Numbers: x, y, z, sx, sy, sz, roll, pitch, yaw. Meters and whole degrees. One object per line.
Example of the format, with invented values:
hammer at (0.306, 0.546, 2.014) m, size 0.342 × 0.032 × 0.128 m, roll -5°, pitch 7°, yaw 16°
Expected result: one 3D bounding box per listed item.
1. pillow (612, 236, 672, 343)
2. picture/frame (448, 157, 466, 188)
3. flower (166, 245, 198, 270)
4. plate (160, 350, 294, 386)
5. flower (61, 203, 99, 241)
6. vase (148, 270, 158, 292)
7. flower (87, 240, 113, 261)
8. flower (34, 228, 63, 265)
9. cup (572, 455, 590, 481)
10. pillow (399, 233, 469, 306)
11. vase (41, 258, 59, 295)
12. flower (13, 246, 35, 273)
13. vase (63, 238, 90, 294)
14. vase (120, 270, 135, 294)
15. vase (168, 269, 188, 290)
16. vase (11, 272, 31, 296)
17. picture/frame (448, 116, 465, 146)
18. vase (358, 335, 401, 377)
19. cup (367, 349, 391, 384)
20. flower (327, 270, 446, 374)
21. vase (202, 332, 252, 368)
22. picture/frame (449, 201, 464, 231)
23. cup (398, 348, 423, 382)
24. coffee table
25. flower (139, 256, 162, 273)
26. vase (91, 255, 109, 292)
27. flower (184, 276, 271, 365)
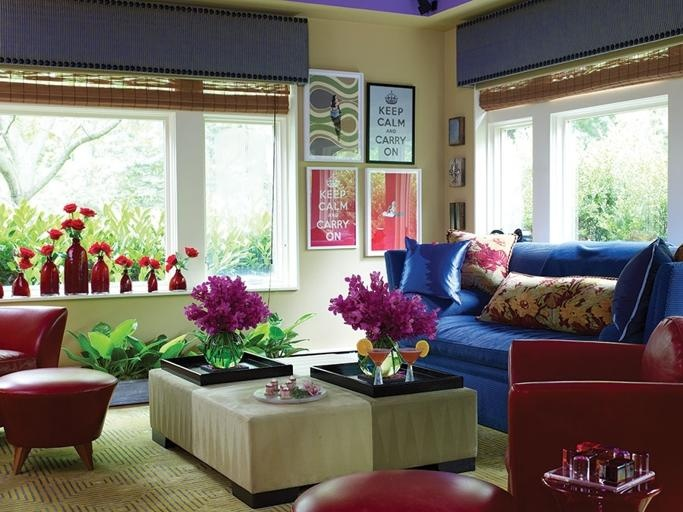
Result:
pillow at (1.409, 0.169, 2.771) m, size 0.134 × 0.460 × 0.462 m, roll 10°, pitch -5°, yaw 5°
picture/frame at (1.192, -0.877, 5.625) m, size 0.058 × 0.307 × 0.229 m, roll -4°, pitch 8°, yaw -35°
flower at (-1.442, 0.022, 4.926) m, size 0.292 × 0.228 × 0.338 m, roll -1°, pitch 6°, yaw -16°
plate at (-0.682, 0.640, 3.085) m, size 0.376 × 0.044 × 0.412 m, roll 1°, pitch 1°, yaw -36°
flower at (-2.222, -0.281, 4.651) m, size 0.344 × 0.375 × 0.370 m, roll -3°, pitch 7°, yaw -41°
vase at (-1.691, 0.211, 4.830) m, size 0.075 × 0.199 × 0.110 m, roll -2°, pitch 7°, yaw -23°
flower at (-2.055, -0.054, 4.649) m, size 0.152 × 0.170 × 0.170 m, roll -6°, pitch -3°, yaw 33°
flower at (-2.510, -0.088, 4.638) m, size 0.193 × 0.312 × 0.173 m, roll 6°, pitch 27°, yaw -20°
cup at (0.581, 0.514, 1.318) m, size 0.039 × 0.046 × 0.035 m, roll 3°, pitch 7°, yaw 21°
pillow at (0.695, 0.114, 4.049) m, size 0.539 × 0.487 × 0.248 m, roll 1°, pitch -3°, yaw 29°
vase at (-2.457, 0.164, 4.530) m, size 0.162 × 0.304 × 0.159 m, roll -2°, pitch 6°, yaw -16°
flower at (-2.664, 0.023, 4.525) m, size 0.152 × 0.195 × 0.175 m, roll 15°, pitch 6°, yaw -32°
vase at (-2.257, 0.078, 4.588) m, size 0.187 × 0.475 × 0.096 m, roll -3°, pitch 7°, yaw -25°
vase at (-1.894, 0.212, 4.744) m, size 0.093 × 0.203 × 0.152 m, roll -2°, pitch 7°, yaw -24°
vase at (-1.479, 0.203, 4.894) m, size 0.171 × 0.188 × 0.176 m, roll -3°, pitch -5°, yaw 34°
vase at (-2.652, 0.227, 4.476) m, size 0.122 × 0.191 × 0.176 m, roll -5°, pitch 8°, yaw -42°
picture/frame at (1.175, -1.307, 5.618) m, size 0.082 × 0.313 × 0.236 m, roll -3°, pitch 7°, yaw -26°
vase at (0.181, 0.503, 2.725) m, size 0.201 × 0.166 × 0.202 m, roll -1°, pitch -13°, yaw 8°
cup at (0.171, 0.535, 2.610) m, size 0.141 × 0.176 × 0.151 m, roll 0°, pitch -5°, yaw 0°
flower at (0.190, 0.302, 2.885) m, size 0.591 × 0.582 × 0.492 m, roll 5°, pitch -9°, yaw -21°
vase at (-0.629, 0.524, 3.065) m, size 0.197 × 0.272 × 0.199 m, roll -1°, pitch -9°, yaw 7°
picture/frame at (1.195, -0.428, 5.624) m, size 0.063 × 0.282 × 0.217 m, roll -4°, pitch 8°, yaw -36°
cup at (0.335, 0.543, 2.717) m, size 0.149 × 0.188 × 0.156 m, roll -1°, pitch -5°, yaw 0°
coffee table at (-0.266, 0.878, 2.654) m, size 1.677 × 0.482 × 0.819 m, roll 3°, pitch 7°, yaw 23°
flower at (-1.737, 0.067, 4.914) m, size 0.185 × 0.143 × 0.259 m, roll -2°, pitch 7°, yaw -20°
vase at (-2.072, 0.148, 4.698) m, size 0.157 × 0.320 × 0.192 m, roll 5°, pitch 8°, yaw 40°
flower at (-0.643, 0.346, 3.136) m, size 0.475 × 0.554 × 0.486 m, roll 0°, pitch 0°, yaw 43°
